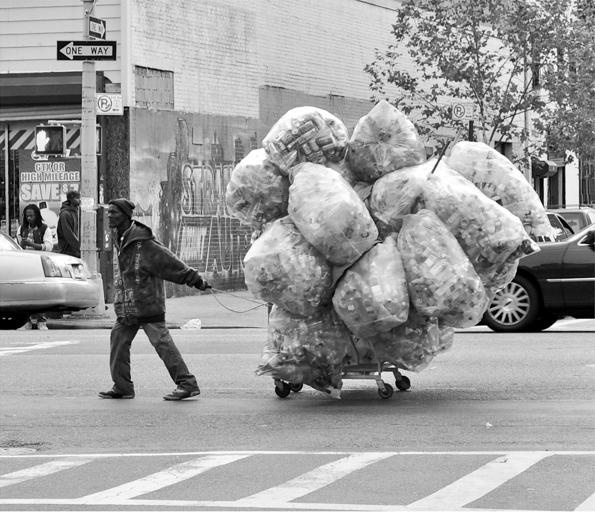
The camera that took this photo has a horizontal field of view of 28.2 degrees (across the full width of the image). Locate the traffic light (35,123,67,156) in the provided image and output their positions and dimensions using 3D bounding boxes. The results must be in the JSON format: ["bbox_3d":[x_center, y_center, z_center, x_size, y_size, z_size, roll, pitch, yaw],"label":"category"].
[{"bbox_3d":[-4.334,-2.024,20.620,0.498,0.494,0.367,0,1,-18],"label":"traffic light"}]

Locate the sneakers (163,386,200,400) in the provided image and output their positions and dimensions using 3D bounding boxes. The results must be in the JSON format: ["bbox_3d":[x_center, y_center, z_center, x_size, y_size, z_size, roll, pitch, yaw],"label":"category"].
[{"bbox_3d":[-1.183,1.397,12.173,0.404,0.152,0.140,0,0,-3],"label":"sneakers"}]

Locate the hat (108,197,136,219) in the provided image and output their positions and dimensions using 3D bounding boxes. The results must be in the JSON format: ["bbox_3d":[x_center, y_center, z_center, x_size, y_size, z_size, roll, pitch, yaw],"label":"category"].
[{"bbox_3d":[-1.846,-0.540,12.474,0.286,0.211,0.239,22,-11,-33],"label":"hat"}]

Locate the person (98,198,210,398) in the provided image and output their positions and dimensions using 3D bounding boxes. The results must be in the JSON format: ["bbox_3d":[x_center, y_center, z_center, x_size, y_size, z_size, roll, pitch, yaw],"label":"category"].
[{"bbox_3d":[-1.554,0.439,12.235,1.141,2.055,0.357,0,1,17],"label":"person"}]

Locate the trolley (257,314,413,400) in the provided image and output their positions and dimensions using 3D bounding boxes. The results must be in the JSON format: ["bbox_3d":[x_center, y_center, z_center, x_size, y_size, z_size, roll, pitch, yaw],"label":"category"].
[{"bbox_3d":[0.475,1.048,12.087,1.349,0.767,0.785,0,-3,5],"label":"trolley"}]

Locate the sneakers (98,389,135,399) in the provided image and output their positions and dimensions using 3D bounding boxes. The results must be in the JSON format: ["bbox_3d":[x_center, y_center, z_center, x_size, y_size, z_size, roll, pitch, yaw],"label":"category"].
[{"bbox_3d":[-1.883,1.399,12.318,0.365,0.149,0.128,3,-2,7],"label":"sneakers"}]
